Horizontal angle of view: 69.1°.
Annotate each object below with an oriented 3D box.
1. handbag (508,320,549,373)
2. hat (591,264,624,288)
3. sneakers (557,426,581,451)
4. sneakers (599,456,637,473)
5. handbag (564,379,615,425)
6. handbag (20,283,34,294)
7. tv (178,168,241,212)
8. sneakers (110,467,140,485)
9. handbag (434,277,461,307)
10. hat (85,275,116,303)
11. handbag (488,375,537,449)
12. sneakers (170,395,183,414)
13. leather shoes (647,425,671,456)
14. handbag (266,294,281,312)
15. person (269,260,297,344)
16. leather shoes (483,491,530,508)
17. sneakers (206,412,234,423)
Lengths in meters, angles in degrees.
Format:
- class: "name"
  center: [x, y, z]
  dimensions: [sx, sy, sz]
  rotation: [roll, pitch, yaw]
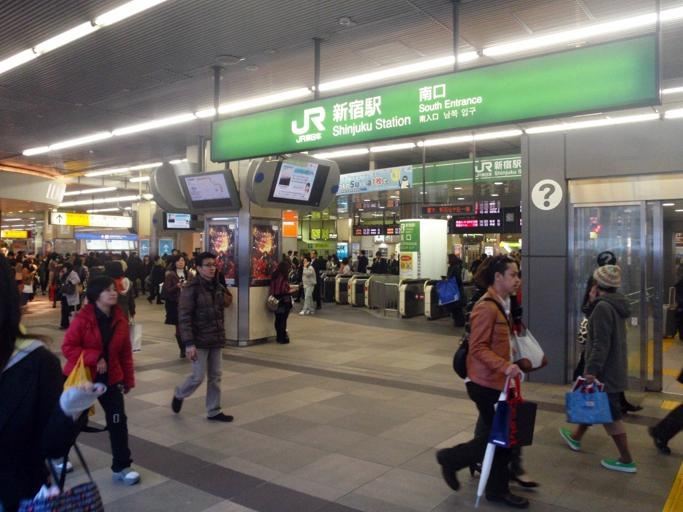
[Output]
- class: "handbag"
  center: [1.609, 0.765, 4.352]
  dimensions: [0.333, 0.491, 0.181]
  rotation: [-1, -20, -30]
- class: "hat"
  center: [2.864, 0.220, 5.294]
  dimensions: [0.234, 0.273, 0.219]
  rotation: [-1, -12, 3]
- class: "sneakers"
  center: [2.495, 1.992, 5.422]
  dimensions: [0.113, 0.118, 0.306]
  rotation: [25, 9, -7]
- class: "sneakers"
  center: [2.727, 2.022, 4.841]
  dimensions: [0.314, 0.112, 0.124]
  rotation: [1, -8, 24]
- class: "handbag"
  center: [2.407, 1.396, 4.803]
  dimensions: [0.392, 0.420, 0.202]
  rotation: [0, 2, 14]
- class: "handbag"
  center: [-9.911, 1.046, 15.480]
  dimensions: [0.370, 0.338, 0.436]
  rotation: [1, 9, -18]
- class: "tv"
  center: [-2.810, -1.376, 10.449]
  dimensions: [1.481, 0.834, 0.169]
  rotation: [1, 23, 30]
- class: "sneakers"
  center: [-2.005, 2.003, 4.528]
  dimensions: [0.293, 0.116, 0.109]
  rotation: [-6, -5, 33]
- class: "handbag"
  center: [1.579, 0.542, 7.189]
  dimensions: [0.338, 0.436, 0.190]
  rotation: [-11, -41, 26]
- class: "hat"
  center: [-2.269, 0.315, 4.664]
  dimensions: [0.270, 0.289, 0.223]
  rotation: [-4, 6, -15]
- class: "handbag"
  center: [1.372, 1.274, 3.915]
  dimensions: [0.396, 0.587, 0.215]
  rotation: [-1, 2, -36]
- class: "sneakers"
  center: [-2.134, 1.914, 6.330]
  dimensions: [0.114, 0.213, 0.208]
  rotation: [23, -31, -38]
- class: "leather shoes"
  center: [3.414, 1.984, 5.281]
  dimensions: [0.174, 0.405, 0.136]
  rotation: [-10, -2, 15]
- class: "handbag"
  center: [-1.485, 1.015, 10.529]
  dimensions: [0.274, 0.348, 0.126]
  rotation: [12, 12, 30]
- class: "person"
  center: [-1.356, 1.015, 10.679]
  dimensions: [0.511, 1.777, 0.646]
  rotation: [0, 1, 6]
- class: "leather shoes"
  center: [1.397, 2.061, 4.174]
  dimensions: [0.384, 0.148, 0.141]
  rotation: [-2, -2, 21]
- class: "sneakers"
  center: [-1.512, 1.986, 6.091]
  dimensions: [0.264, 0.109, 0.133]
  rotation: [0, -2, 0]
